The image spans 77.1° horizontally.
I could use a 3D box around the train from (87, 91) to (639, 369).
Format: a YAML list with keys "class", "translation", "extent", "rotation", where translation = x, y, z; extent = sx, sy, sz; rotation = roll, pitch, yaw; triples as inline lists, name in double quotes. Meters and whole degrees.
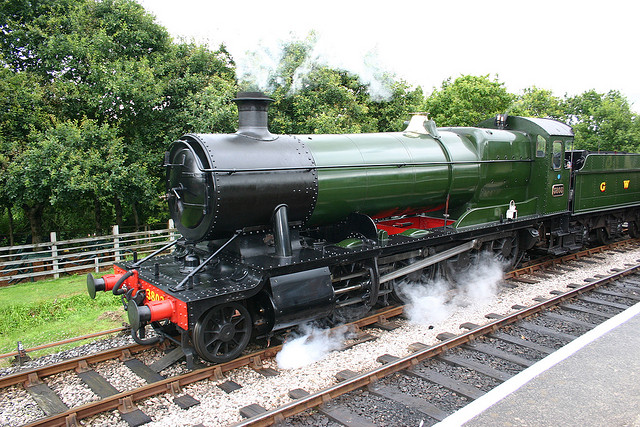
- class: "train"
  translation: [3.930, -0.359, 13.181]
  extent: [19.007, 5.286, 5.385]
  rotation: [-7, 9, -36]

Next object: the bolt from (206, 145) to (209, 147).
- class: "bolt"
  translation: [-1.991, -1.212, 7.134]
  extent: [0.042, 0.037, 0.040]
  rotation: [-6, 10, -4]

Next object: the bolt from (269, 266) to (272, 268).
- class: "bolt"
  translation: [-0.872, 0.953, 7.157]
  extent: [0.040, 0.019, 0.040]
  rotation: [-7, 9, -14]

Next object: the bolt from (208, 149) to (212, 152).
- class: "bolt"
  translation: [-1.939, -1.124, 7.083]
  extent: [0.043, 0.049, 0.058]
  rotation: [1, 2, 6]
